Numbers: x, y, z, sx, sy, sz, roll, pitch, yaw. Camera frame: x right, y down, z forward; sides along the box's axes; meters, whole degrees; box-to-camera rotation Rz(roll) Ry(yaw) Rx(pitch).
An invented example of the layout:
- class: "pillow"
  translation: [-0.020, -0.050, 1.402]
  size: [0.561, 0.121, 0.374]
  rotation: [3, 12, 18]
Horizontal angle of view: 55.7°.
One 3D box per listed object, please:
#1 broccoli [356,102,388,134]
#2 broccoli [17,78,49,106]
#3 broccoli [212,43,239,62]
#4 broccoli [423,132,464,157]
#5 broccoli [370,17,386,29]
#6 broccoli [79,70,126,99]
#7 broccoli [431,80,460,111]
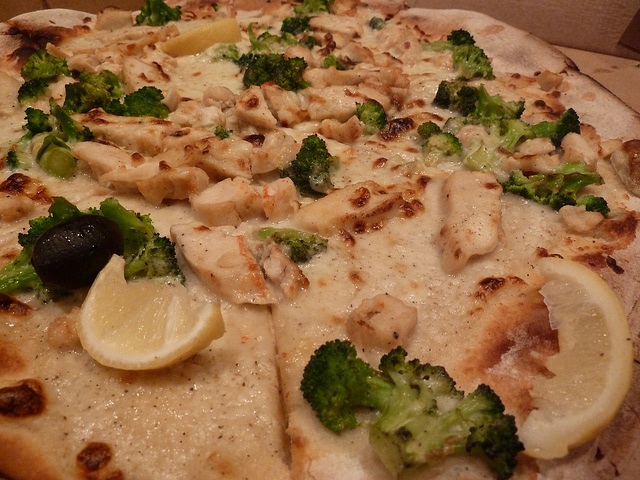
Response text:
- class: "broccoli"
  translation: [0.511, -1.235, 6.095]
  size: [0.300, 0.107, 0.295]
  rotation: [-16, 79, -7]
- class: "broccoli"
  translation: [-2.979, -1.533, 6.291]
  size: [0.259, 0.085, 0.285]
  rotation: [21, 45, 7]
- class: "broccoli"
  translation: [-1.108, -2.223, 7.174]
  size: [0.275, 0.073, 0.229]
  rotation: [1, 53, 7]
- class: "broccoli"
  translation: [1.174, -0.908, 5.726]
  size: [0.278, 0.077, 0.276]
  rotation: [26, 38, 29]
- class: "broccoli"
  translation: [0.738, -2.833, 7.885]
  size: [0.193, 0.052, 0.160]
  rotation: [-4, 74, 15]
- class: "broccoli"
  translation: [-2.295, -1.667, 6.370]
  size: [0.382, 0.125, 0.321]
  rotation: [28, 17, -1]
- class: "broccoli"
  translation: [1.342, -1.548, 6.375]
  size: [0.281, 0.233, 0.344]
  rotation: [13, 56, 6]
